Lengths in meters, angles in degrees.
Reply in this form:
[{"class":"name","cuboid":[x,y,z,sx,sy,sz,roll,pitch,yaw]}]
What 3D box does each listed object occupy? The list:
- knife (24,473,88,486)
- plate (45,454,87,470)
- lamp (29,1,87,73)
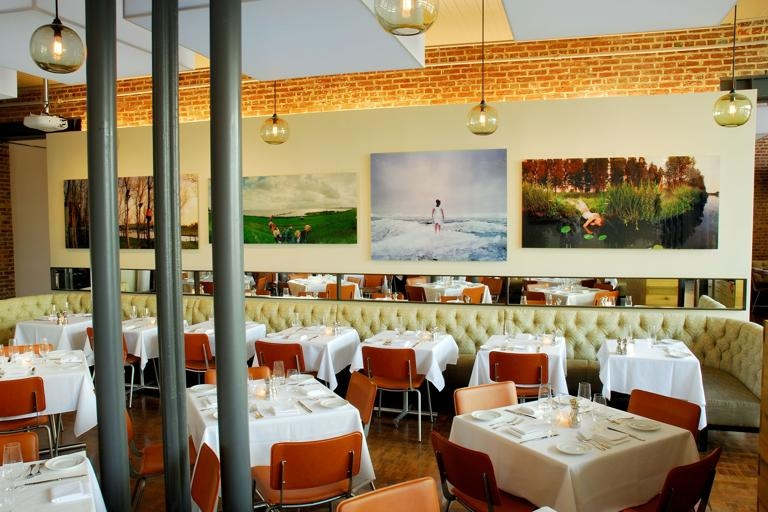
[{"class":"knife","cuboid":[-2.369,1.609,4.090,0.376,0.021,0.041,1,17,-17]},{"class":"plate","cuboid":[-2.398,1.543,4.268,0.267,0.056,0.197,-4,2,-26]},{"class":"lamp","cuboid":[-2.714,-1.855,4.704,0.320,0.550,0.248,-3,2,13]}]
